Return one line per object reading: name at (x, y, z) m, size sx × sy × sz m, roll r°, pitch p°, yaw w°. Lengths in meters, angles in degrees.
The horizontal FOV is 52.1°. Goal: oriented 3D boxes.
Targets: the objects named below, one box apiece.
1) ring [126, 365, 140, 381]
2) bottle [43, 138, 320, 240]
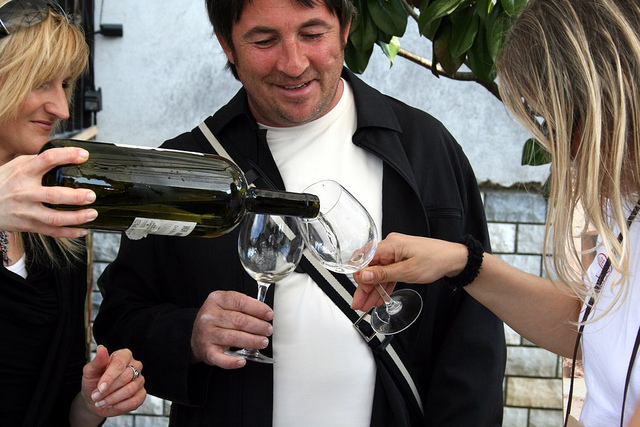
ring at (-0.713, 0.609, 2.495) m, size 0.032 × 0.056 × 0.038 m, roll -22°, pitch 33°, yaw -21°
bottle at (-0.317, -0.023, 2.191) m, size 1.054 × 0.350 × 0.340 m, roll 7°, pitch -6°, yaw -14°
